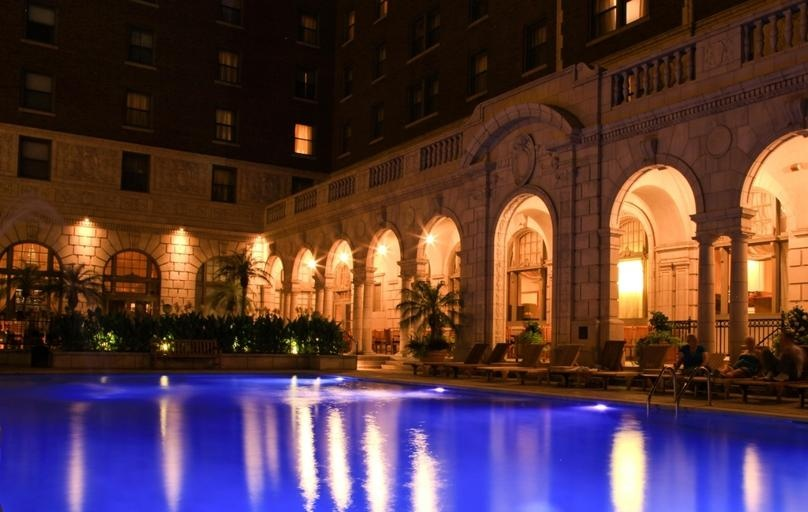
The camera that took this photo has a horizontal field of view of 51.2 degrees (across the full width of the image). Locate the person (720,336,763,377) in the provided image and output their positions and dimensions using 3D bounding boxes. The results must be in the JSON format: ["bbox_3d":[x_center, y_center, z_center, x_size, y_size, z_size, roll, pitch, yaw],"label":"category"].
[{"bbox_3d":[9.771,2.948,24.440,1.009,1.167,1.165,-3,-10,22],"label":"person"}]

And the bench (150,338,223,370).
[{"bbox_3d":[-8.450,3.840,33.078,2.530,1.187,1.075,3,-9,-15],"label":"bench"}]
